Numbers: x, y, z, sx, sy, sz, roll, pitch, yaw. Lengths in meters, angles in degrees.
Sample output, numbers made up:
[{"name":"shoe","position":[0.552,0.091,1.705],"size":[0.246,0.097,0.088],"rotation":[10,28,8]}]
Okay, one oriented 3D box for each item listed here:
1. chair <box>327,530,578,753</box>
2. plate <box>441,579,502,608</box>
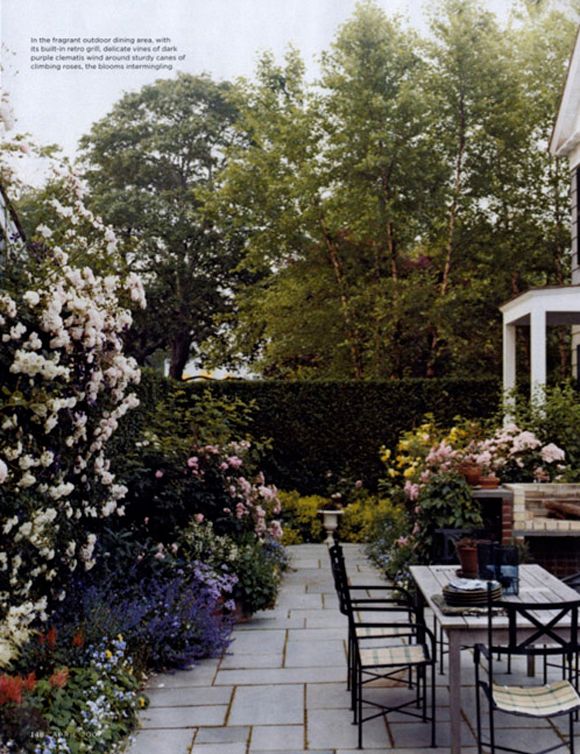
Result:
[{"name":"chair","position":[0.863,1.510,5.238],"size":[1.077,0.836,1.202],"rotation":[-1,-1,1]},{"name":"plate","position":[0.911,1.107,4.527],"size":[0.248,0.084,0.230],"rotation":[0,-5,-1]}]
